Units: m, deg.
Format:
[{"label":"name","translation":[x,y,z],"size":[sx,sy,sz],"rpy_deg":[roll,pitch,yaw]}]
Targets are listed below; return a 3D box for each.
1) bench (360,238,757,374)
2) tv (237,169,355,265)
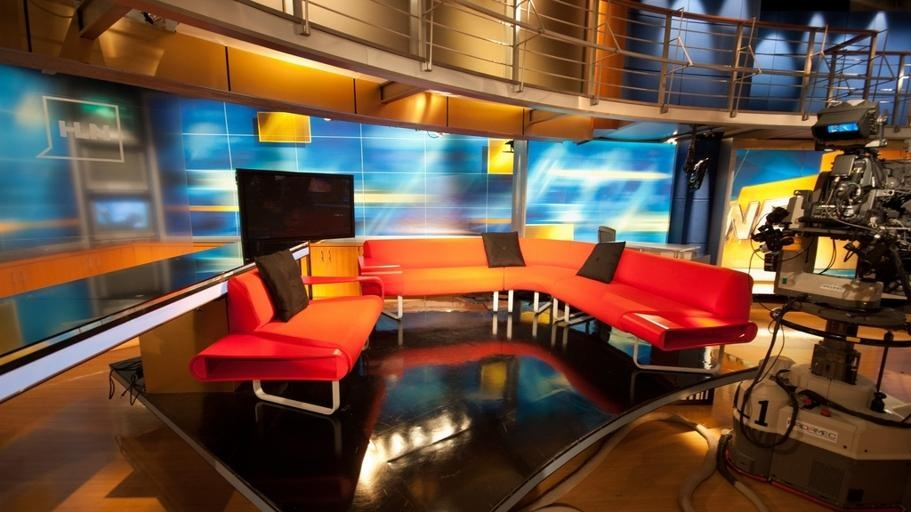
[{"label":"bench","translation":[1.648,0.491,8.997],"size":[5.394,1.349,2.117],"rpy_deg":[3,11,22]},{"label":"tv","translation":[-2.425,-0.613,8.787],"size":[2.131,1.106,0.150],"rpy_deg":[-6,11,-41]}]
